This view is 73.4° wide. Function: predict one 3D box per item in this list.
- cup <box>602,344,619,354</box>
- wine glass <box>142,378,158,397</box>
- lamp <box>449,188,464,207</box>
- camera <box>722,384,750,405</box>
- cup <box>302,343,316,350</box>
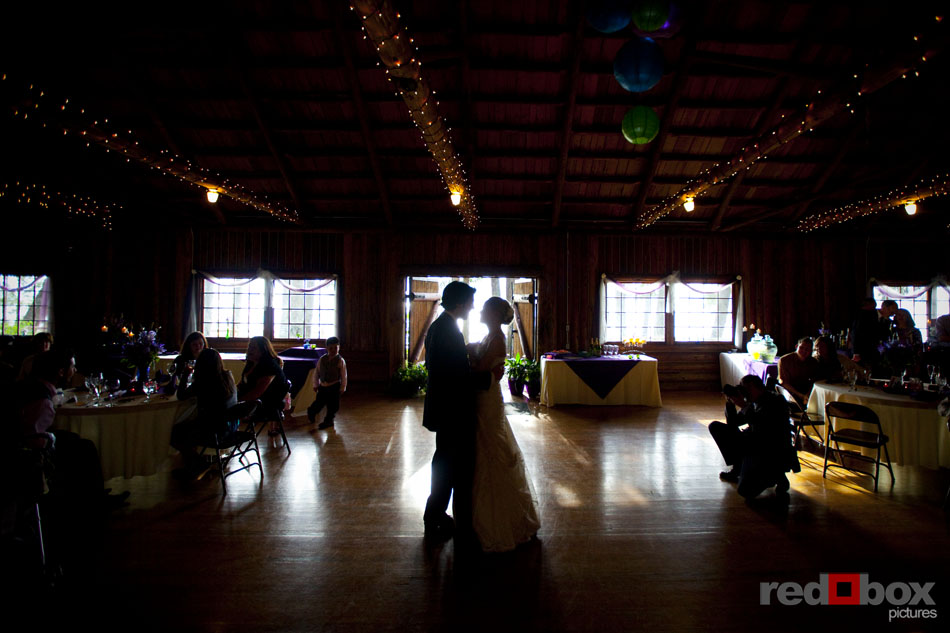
[{"bbox_3d":[2.766,0.663,13.048,0.224,0.154,0.235,0,-1,0],"label":"cup"},{"bbox_3d":[-4.442,0.972,8.731,0.166,0.227,0.224,2,-6,-21],"label":"wine glass"},{"bbox_3d":[-0.361,-2.240,11.839,0.286,0.330,0.303,-1,-20,0],"label":"lamp"},{"bbox_3d":[3.512,1.028,8.574,0.258,0.278,0.085,15,37,27],"label":"camera"},{"bbox_3d":[-3.438,0.597,13.013,0.270,0.127,0.284,-2,-1,0],"label":"cup"}]
